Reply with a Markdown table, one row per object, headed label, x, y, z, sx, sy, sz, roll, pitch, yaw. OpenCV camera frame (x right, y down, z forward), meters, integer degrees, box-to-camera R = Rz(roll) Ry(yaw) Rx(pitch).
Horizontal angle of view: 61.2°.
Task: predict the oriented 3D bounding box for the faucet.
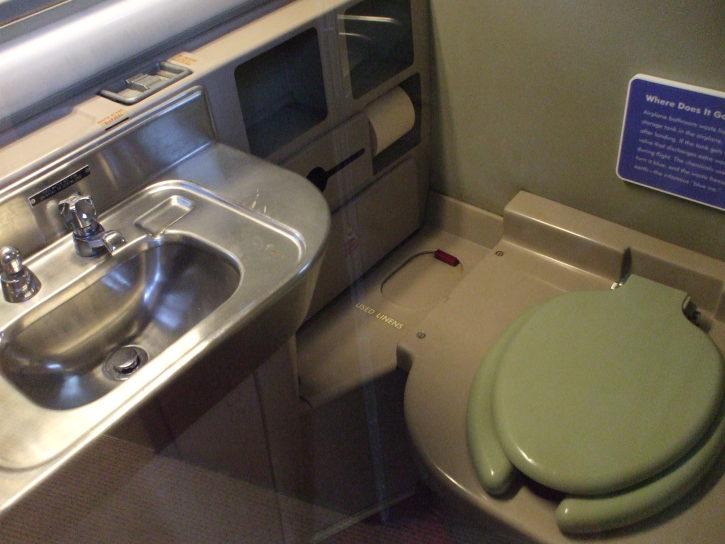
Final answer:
| label | x | y | z | sx | sy | sz | roll | pitch | yaw |
| --- | --- | --- | --- | --- | --- | --- | --- | --- | --- |
| faucet | -0.431 | -0.070 | 0.974 | 0.113 | 0.091 | 0.051 | 14 | 35 | 21 |
